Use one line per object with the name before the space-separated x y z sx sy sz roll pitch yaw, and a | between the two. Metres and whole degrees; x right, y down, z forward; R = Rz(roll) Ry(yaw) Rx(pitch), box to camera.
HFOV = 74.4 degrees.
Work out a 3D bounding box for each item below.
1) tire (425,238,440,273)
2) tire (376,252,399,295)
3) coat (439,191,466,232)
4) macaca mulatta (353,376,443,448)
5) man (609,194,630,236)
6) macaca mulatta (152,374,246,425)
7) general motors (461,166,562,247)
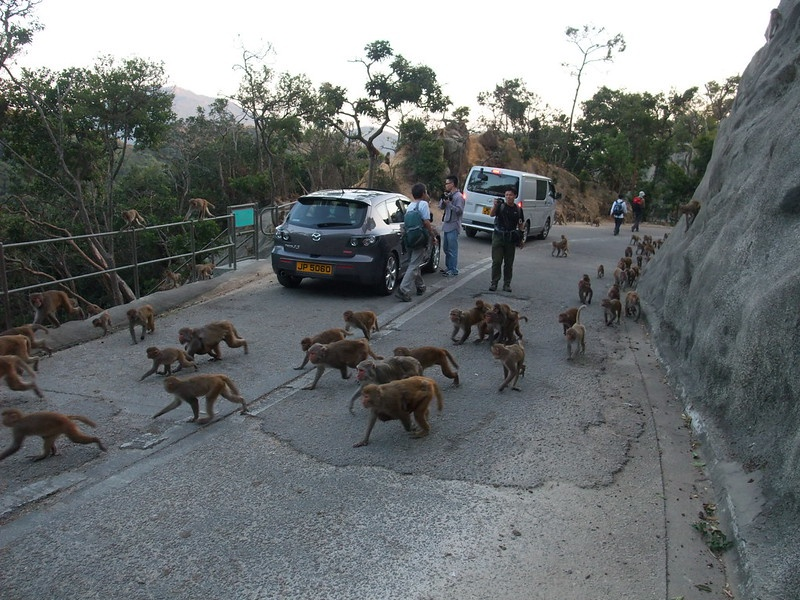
tire | 0.826 -1.214 13.973 0.209 0.694 0.659 10 27 27
tire | -0.342 -0.593 11.945 0.276 0.942 0.901 3 -8 16
coat | 1.323 -2.342 13.754 0.543 1.045 0.775 -3 16 -28
macaca mulatta | 0.024 1.232 5.910 1.065 0.734 0.363 -6 10 -32
man | 11.595 -4.543 28.084 0.744 2.196 0.650 10 10 33
macaca mulatta | -2.374 1.160 6.222 1.014 0.582 0.310 -2 13 -14
general motors | 4.768 -4.228 23.120 3.079 3.215 5.905 9 21 29
